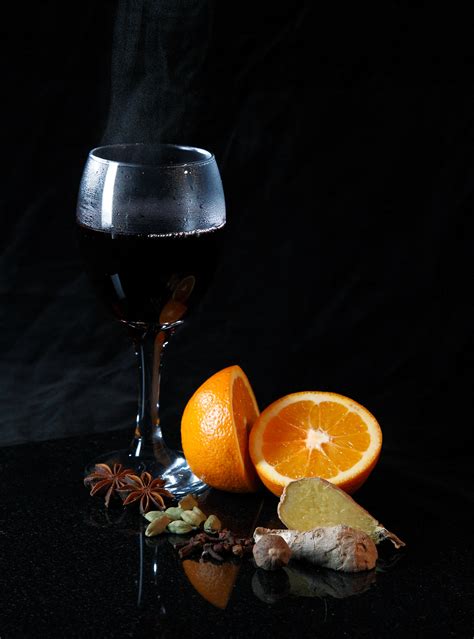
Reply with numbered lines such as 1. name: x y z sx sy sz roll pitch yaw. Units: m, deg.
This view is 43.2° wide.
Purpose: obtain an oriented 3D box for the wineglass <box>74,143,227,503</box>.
1. wineglass: -0.103 0.003 0.711 0.153 0.363 0.154 6 7 32

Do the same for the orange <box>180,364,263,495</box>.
1. orange: -0.025 0.139 0.750 0.097 0.151 0.188 3 25 -2
